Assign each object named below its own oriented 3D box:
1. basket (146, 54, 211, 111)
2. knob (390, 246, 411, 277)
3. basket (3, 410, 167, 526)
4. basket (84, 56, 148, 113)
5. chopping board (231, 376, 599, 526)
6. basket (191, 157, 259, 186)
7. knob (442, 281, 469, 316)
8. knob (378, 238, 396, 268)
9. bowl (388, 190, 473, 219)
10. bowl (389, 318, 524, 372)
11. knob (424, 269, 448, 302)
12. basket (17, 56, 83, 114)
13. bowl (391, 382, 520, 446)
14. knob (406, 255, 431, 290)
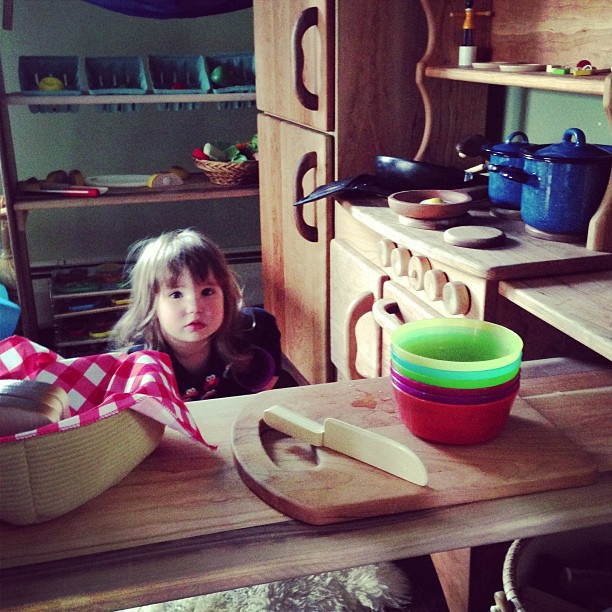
[{"bbox_3d":[-0.610,-1.105,2.875,0.277,0.181,0.196,-5,20,-8],"label":"basket"},{"bbox_3d":[0.223,-0.104,1.414,0.036,0.068,0.079,-5,12,-15],"label":"knob"},{"bbox_3d":[-0.250,0.169,0.693,0.143,0.041,0.141,-9,3,40],"label":"basket"},{"bbox_3d":[-0.886,-1.065,2.783,0.256,0.173,0.184,-7,21,-14],"label":"basket"},{"bbox_3d":[0.113,0.162,0.717,0.288,0.015,0.205,-4,15,-17],"label":"chopping board"},{"bbox_3d":[-0.397,-0.653,2.944,0.325,0.124,0.162,0,20,3],"label":"basket"},{"bbox_3d":[0.302,-0.012,1.210,0.034,0.073,0.050,-7,22,-11],"label":"knob"},{"bbox_3d":[0.201,-0.132,1.495,0.033,0.070,0.081,-3,11,-11],"label":"knob"},{"bbox_3d":[0.296,-0.248,1.459,0.182,0.046,0.223,-7,19,-18],"label":"bowl"},{"bbox_3d":[0.193,0.057,0.771,0.161,0.027,0.138,1,20,8],"label":"bowl"},{"bbox_3d":[0.275,-0.044,1.268,0.030,0.061,0.071,-4,11,-15],"label":"knob"},{"bbox_3d":[-1.129,-1.002,2.786,0.367,0.265,0.296,-4,24,-11],"label":"basket"},{"bbox_3d":[0.221,0.153,0.809,0.180,0.051,0.166,7,-7,1],"label":"bowl"},{"bbox_3d":[0.252,-0.076,1.337,0.056,0.077,0.077,-5,14,-15],"label":"knob"}]
